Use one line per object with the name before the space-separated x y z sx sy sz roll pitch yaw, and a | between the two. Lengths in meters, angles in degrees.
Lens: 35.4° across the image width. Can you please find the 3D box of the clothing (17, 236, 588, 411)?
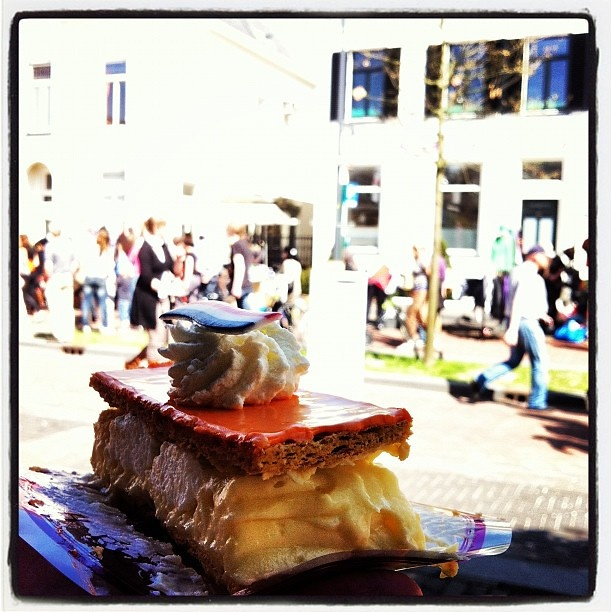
clothing | 0.125 0.041 5.383 3.229 0.543 0.124 7 14 34
